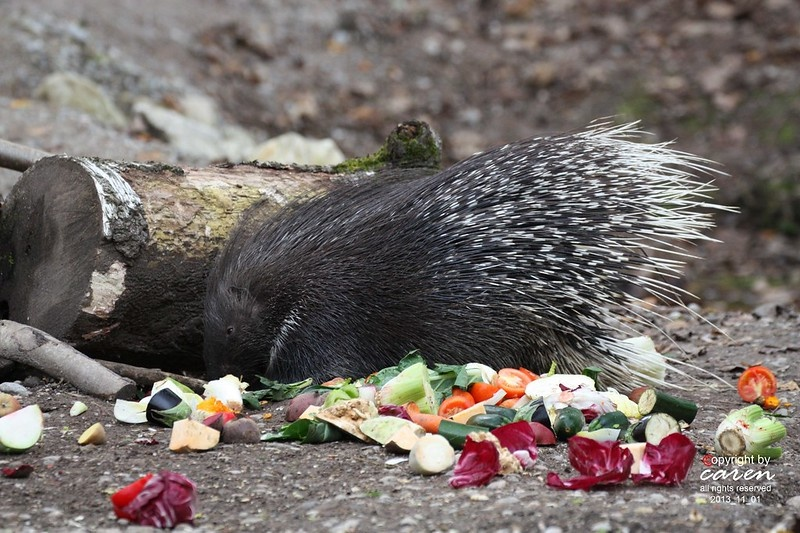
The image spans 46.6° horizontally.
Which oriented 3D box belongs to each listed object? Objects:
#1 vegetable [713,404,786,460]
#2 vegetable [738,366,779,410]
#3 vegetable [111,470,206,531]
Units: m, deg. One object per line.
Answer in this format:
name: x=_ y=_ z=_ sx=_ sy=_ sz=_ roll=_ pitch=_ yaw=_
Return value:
vegetable: x=1.565 y=0.745 z=4.228 sx=0.377 sy=0.126 sz=0.323 roll=-1 pitch=7 yaw=-9
vegetable: x=1.783 y=0.595 z=4.644 sx=0.188 sy=0.194 sz=0.068 roll=-30 pitch=-12 yaw=28
vegetable: x=-0.942 y=0.912 z=3.653 sx=0.275 sy=0.168 sz=0.224 roll=-5 pitch=-18 yaw=-32
